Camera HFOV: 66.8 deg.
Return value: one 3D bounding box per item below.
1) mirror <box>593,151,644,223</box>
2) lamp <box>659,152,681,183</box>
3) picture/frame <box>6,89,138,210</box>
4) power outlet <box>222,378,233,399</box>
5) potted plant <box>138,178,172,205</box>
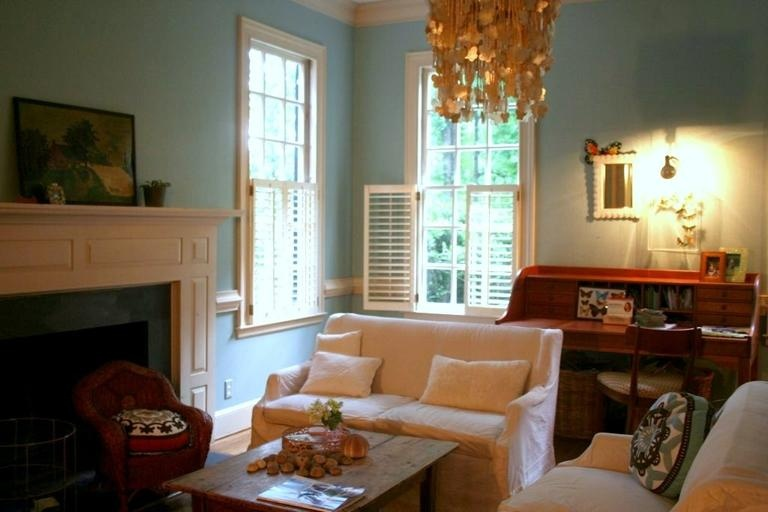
[{"bbox_3d":[2.190,-0.650,5.495,0.417,0.628,0.107,1,5,9],"label":"mirror"},{"bbox_3d":[2.604,-0.812,5.300,0.136,0.227,0.107,3,6,32],"label":"lamp"},{"bbox_3d":[-2.223,-0.742,4.084,0.042,0.777,0.997,3,2,36],"label":"picture/frame"},{"bbox_3d":[-1.392,1.184,5.202,0.023,0.196,0.094,3,6,32],"label":"power outlet"},{"bbox_3d":[-1.766,-0.484,4.497,0.191,0.199,0.209,2,-2,-42],"label":"potted plant"}]
